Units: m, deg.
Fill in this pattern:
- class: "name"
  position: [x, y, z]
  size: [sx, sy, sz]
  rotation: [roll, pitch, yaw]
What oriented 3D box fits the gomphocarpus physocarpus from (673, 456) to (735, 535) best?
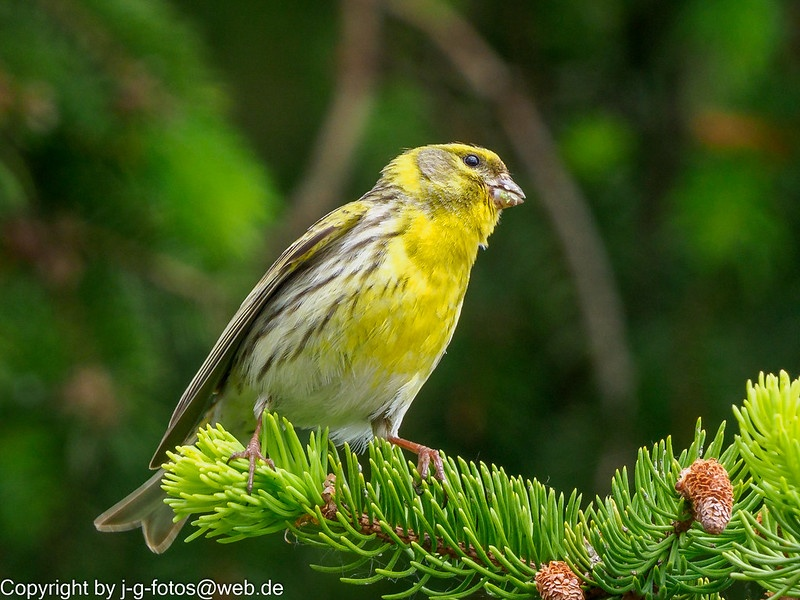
- class: "gomphocarpus physocarpus"
  position: [0.898, 0.575, 2.696]
  size: [0.150, 0.157, 0.268]
  rotation: [-6, 19, 1]
